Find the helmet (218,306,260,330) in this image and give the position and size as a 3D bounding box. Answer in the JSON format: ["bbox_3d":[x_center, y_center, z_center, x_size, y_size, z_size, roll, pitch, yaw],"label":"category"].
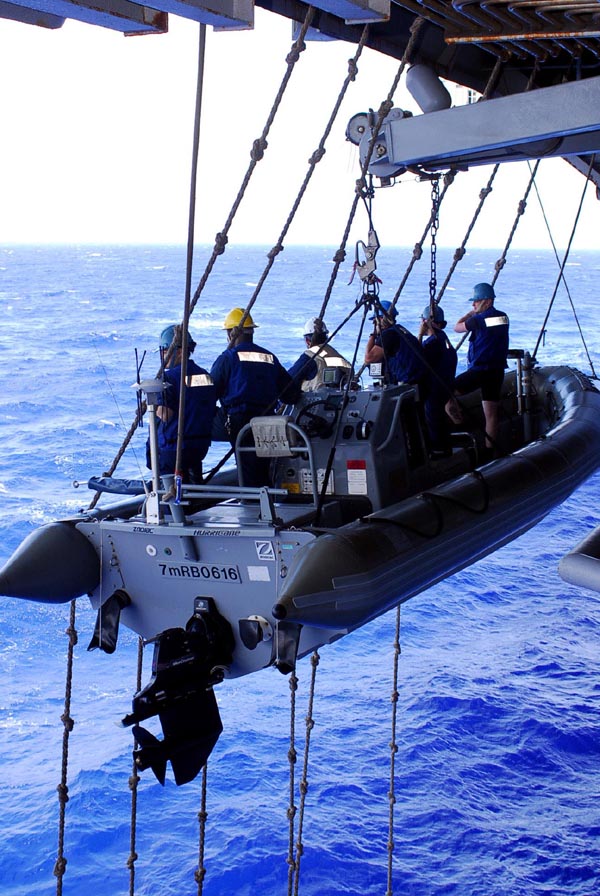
[{"bbox_3d":[-0.331,-0.754,5.737,0.155,0.081,0.171,-6,12,-16],"label":"helmet"}]

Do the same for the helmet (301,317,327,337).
[{"bbox_3d":[0.106,-0.843,6.869,0.128,0.124,0.165,-14,10,-41],"label":"helmet"}]

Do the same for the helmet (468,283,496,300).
[{"bbox_3d":[1.414,-1.204,7.647,0.193,0.095,0.163,2,8,23],"label":"helmet"}]
